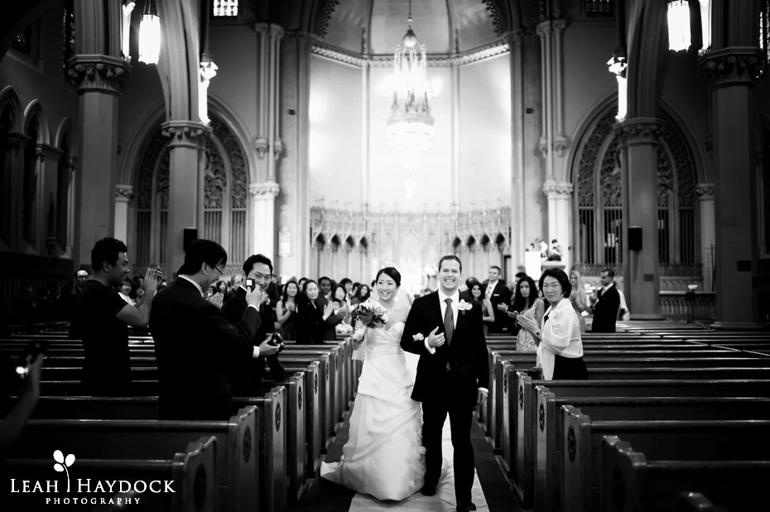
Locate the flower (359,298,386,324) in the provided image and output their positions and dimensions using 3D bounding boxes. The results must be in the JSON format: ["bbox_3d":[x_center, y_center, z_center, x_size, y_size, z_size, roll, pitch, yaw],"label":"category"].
[{"bbox_3d":[-0.171,0.717,10.509,0.356,0.304,0.335,1,-2,-6],"label":"flower"}]

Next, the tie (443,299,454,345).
[{"bbox_3d":[0.782,0.799,10.032,0.111,0.558,0.059,0,-2,1],"label":"tie"}]

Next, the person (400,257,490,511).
[{"bbox_3d":[0.749,1.522,10.056,0.984,3.050,0.568,0,-2,18],"label":"person"}]

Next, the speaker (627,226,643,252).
[{"bbox_3d":[6.073,-0.410,19.824,0.369,0.576,0.160,0,-2,10],"label":"speaker"}]

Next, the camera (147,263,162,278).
[{"bbox_3d":[-3.799,0.224,13.406,0.193,0.281,0.301,-4,3,0],"label":"camera"}]
